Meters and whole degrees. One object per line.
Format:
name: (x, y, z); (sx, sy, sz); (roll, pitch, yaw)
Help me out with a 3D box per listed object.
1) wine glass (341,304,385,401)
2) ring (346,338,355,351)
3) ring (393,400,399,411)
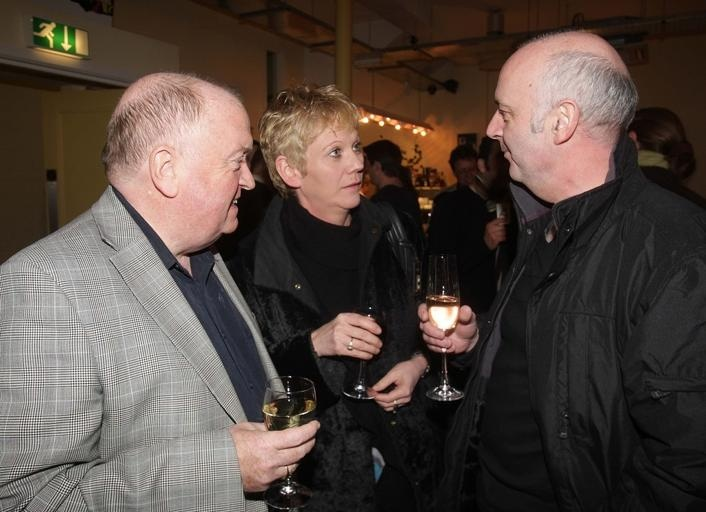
wine glass: (0.035, 0.396, 2.442); (0.146, 0.381, 0.334); (1, 17, 1)
ring: (-0.011, 0.354, 2.352); (0.025, 0.047, 0.019); (1, 18, 0)
ring: (0.176, 0.620, 2.433); (0.012, 0.050, 0.033); (16, 23, 39)
